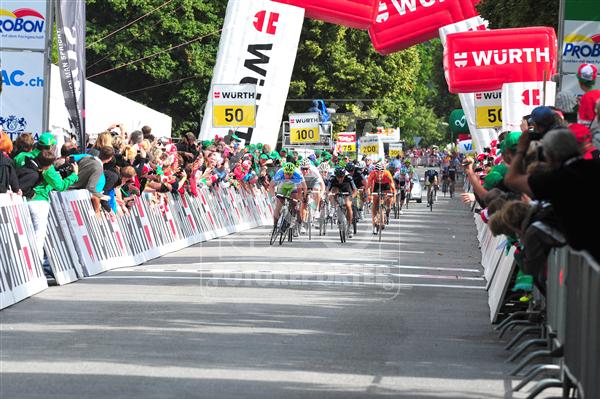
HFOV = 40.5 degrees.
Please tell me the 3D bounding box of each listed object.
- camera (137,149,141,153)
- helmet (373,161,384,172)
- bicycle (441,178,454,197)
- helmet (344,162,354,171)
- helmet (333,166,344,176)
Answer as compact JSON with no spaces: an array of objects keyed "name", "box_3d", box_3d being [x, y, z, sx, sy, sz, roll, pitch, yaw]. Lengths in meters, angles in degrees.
[{"name":"camera","box_3d":[-3.291,-0.987,16.622,0.093,0.082,0.021,0,-3,-20]},{"name":"helmet","box_3d":[2.267,-0.955,23.385,0.222,0.254,0.218,7,-13,7]},{"name":"bicycle","box_3d":[9.510,-0.833,52.515,0.782,1.024,1.805,-1,-8,5]},{"name":"helmet","box_3d":[1.421,-0.957,23.280,0.219,0.250,0.271,-3,44,9]},{"name":"helmet","box_3d":[1.032,-0.766,21.731,0.220,0.239,0.280,-4,34,-7]}]
